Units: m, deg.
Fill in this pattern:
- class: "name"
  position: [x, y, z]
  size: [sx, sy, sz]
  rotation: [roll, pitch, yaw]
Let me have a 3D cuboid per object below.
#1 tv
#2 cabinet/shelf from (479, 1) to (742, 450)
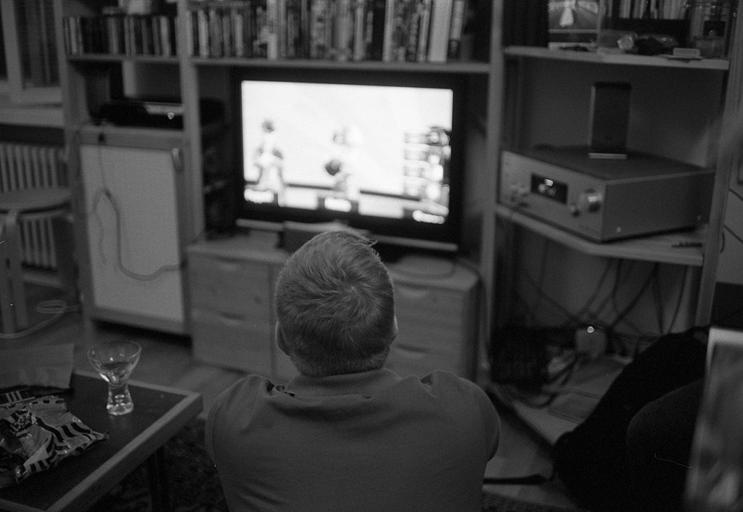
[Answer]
- class: "tv"
  position: [-0.058, -0.436, 2.787]
  size: [0.940, 0.628, 0.274]
  rotation: [6, 14, 15]
- class: "cabinet/shelf"
  position: [0.813, -0.162, 2.319]
  size: [0.327, 1.562, 1.022]
  rotation: [-10, 21, -30]
